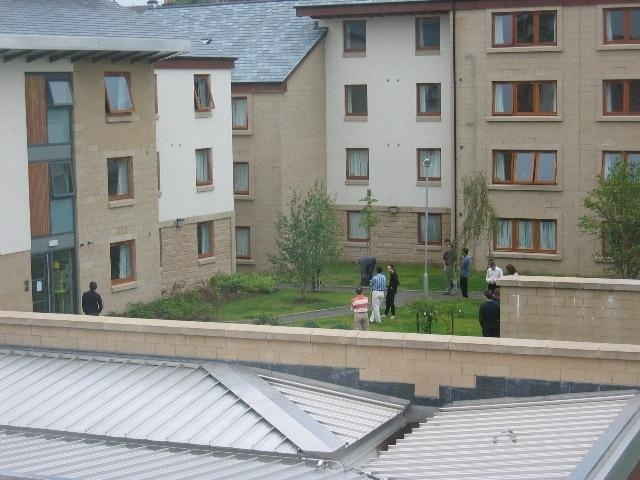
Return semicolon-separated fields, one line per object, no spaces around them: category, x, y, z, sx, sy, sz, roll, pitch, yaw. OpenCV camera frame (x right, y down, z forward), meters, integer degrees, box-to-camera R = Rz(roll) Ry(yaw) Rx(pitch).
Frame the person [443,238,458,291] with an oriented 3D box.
person;4.802;0.897;63.099;0.472;1.923;1.160;2;12;3

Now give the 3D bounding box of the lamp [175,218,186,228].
lamp;-5.154;-0.725;62.607;0.174;0.350;0.394;6;13;20

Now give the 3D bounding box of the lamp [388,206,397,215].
lamp;2.929;-1.330;69.335;0.478;0.356;0.199;8;13;25
